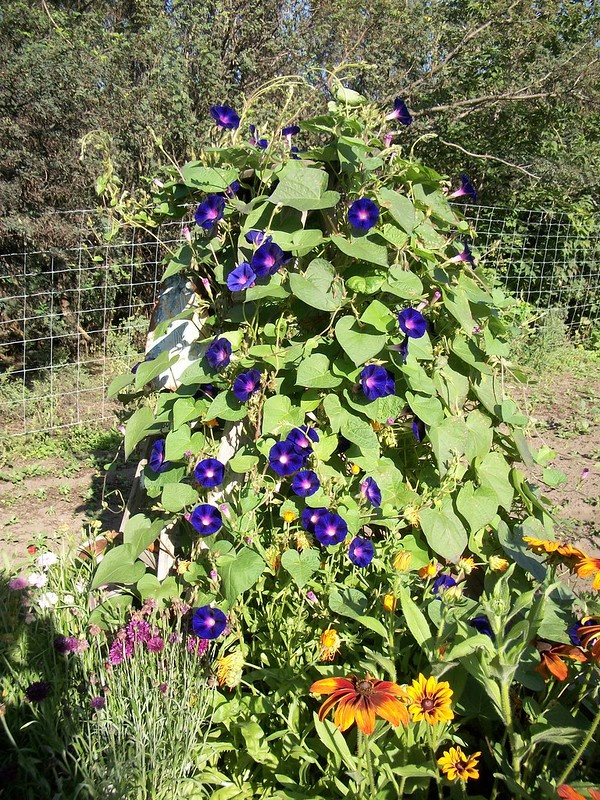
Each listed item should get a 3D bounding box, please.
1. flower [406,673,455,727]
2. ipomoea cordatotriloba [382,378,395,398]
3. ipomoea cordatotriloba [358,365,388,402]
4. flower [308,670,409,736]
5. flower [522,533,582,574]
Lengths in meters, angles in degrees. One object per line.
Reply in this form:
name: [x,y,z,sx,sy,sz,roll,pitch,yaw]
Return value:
flower: [0.236,0.554,1.191,0.081,0.065,0.086,7,8,10]
ipomoea cordatotriloba: [0.230,-0.032,1.665,0.042,0.042,0.011,5,1,-35]
ipomoea cordatotriloba: [0.181,-0.049,1.671,0.090,0.089,0.044,13,11,40]
flower: [0.114,0.518,1.123,0.165,0.051,0.155,-6,8,-7]
flower: [0.594,0.354,1.510,0.093,0.035,0.094,14,2,41]
